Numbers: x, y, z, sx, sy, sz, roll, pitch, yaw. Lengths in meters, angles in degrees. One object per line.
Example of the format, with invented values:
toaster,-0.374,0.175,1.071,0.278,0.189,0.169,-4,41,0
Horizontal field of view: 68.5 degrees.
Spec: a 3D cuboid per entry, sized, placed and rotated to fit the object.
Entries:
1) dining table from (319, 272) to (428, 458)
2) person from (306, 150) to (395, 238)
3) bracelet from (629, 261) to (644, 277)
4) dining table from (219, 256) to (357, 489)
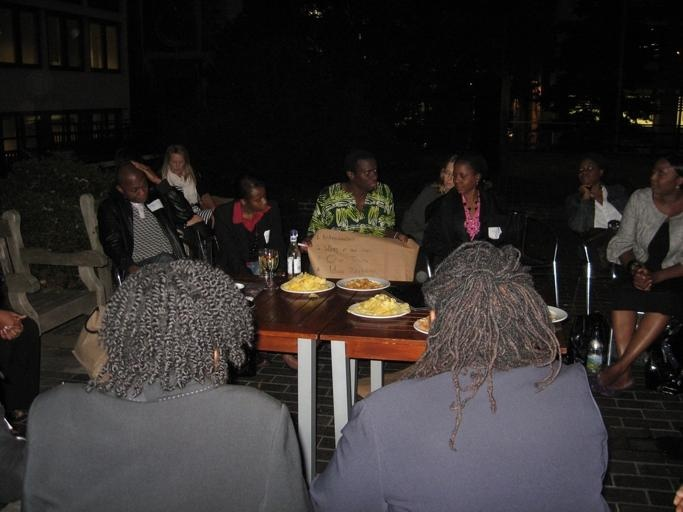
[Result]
dining table,0.188,0.577,3.008,0.897,0.833,0.925,1,6,10
person,0.128,-0.574,4.540,0.786,0.736,0.369,3,13,1
bracelet,2.278,0.098,3.857,0.086,0.085,0.207,9,14,25
dining table,-0.070,0.659,3.133,1.040,0.917,0.956,3,14,10
